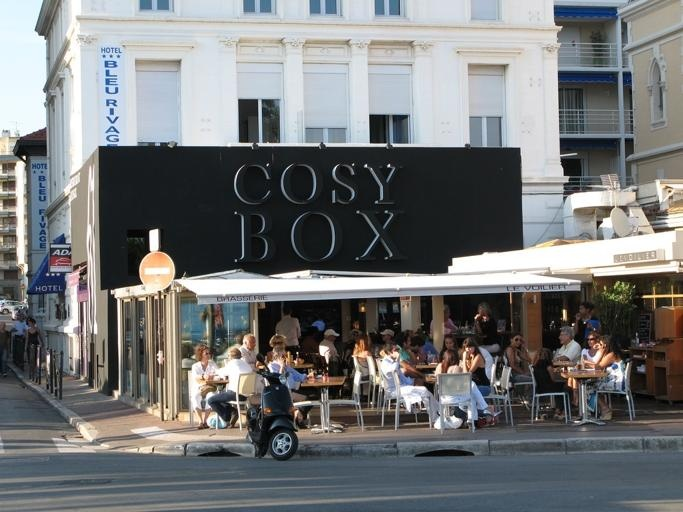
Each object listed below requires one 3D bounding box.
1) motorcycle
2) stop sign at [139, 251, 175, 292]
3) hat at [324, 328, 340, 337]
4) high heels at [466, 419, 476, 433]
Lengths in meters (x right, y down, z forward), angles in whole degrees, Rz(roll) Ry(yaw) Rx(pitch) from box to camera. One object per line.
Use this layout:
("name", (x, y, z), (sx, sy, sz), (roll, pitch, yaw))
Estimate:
("motorcycle", (-1.581, 3.384, 30.011), (1.084, 1.437, 0.825), (-9, 5, 12))
("stop sign", (-4.464, 0.353, 32.917), (1.058, 1.161, 0.152), (1, -2, -8))
("hat", (-0.290, 1.981, 36.955), (0.329, 0.130, 0.221), (3, 3, -38))
("high heels", (2.972, 3.779, 31.676), (0.212, 0.280, 0.226), (-2, -9, 8))
